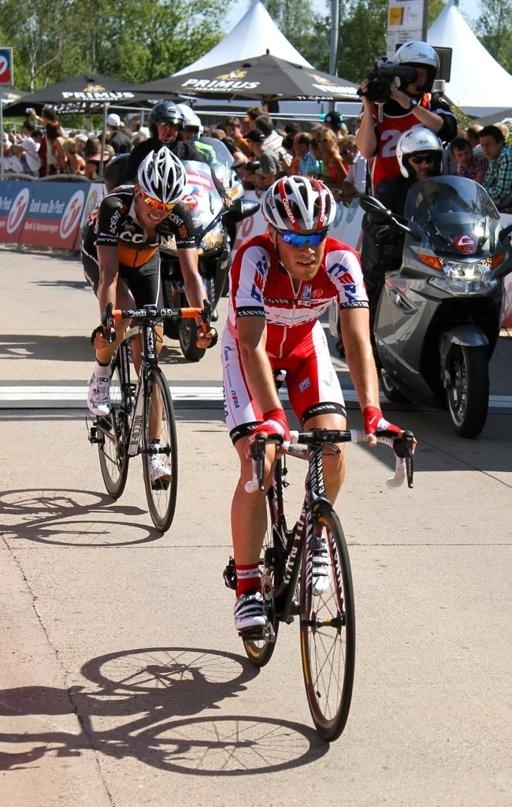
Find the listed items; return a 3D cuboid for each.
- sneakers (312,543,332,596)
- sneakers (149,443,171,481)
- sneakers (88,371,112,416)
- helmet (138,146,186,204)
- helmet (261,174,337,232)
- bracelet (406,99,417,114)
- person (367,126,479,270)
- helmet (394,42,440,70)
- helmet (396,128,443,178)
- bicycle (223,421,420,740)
[{"bbox_3d":[0.183,0.464,2.446,0.047,0.064,0.147,-3,61,3],"label":"sneakers"},{"bbox_3d":[-0.499,0.310,4.554,0.104,0.184,0.190,1,8,-9],"label":"sneakers"},{"bbox_3d":[-0.918,-0.067,5.101,0.099,0.116,0.283,0,55,-22],"label":"sneakers"},{"bbox_3d":[-0.492,-1.173,4.490,0.219,0.166,0.296,0,49,-20],"label":"helmet"},{"bbox_3d":[0.133,-0.625,2.706,0.218,0.186,0.217,2,8,-1],"label":"helmet"},{"bbox_3d":[1.334,-2.535,7.385,0.056,0.117,0.124,2,-10,3],"label":"bracelet"},{"bbox_3d":[1.171,-1.710,6.952,0.617,0.710,1.283,4,31,-12],"label":"person"},{"bbox_3d":[1.352,-2.923,7.304,0.295,0.232,0.236,13,22,35],"label":"helmet"},{"bbox_3d":[1.285,-1.990,6.843,0.330,0.372,0.408,4,8,14],"label":"helmet"},{"bbox_3d":[0.185,0.519,2.662,0.538,0.945,0.899,2,8,-2],"label":"bicycle"}]
